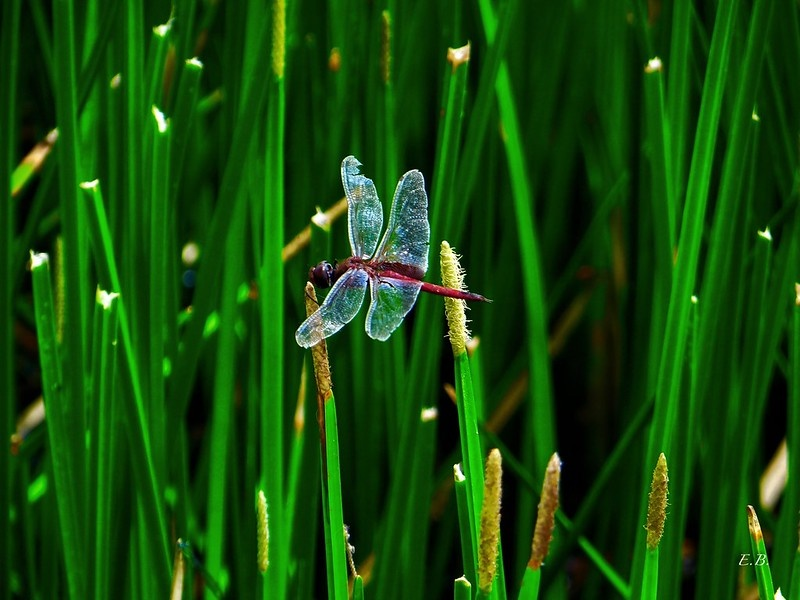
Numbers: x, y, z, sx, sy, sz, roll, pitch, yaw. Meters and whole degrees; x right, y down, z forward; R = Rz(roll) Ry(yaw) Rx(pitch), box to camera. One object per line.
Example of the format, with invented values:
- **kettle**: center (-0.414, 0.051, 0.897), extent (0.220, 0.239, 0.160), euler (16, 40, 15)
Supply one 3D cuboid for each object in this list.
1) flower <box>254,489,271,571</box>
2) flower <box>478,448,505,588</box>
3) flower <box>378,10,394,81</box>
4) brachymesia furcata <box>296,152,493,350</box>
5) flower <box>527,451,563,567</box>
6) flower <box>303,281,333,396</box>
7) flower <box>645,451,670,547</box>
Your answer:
- **flower**: center (-0.167, 0.283, 1.427), extent (0.015, 0.151, 0.023), euler (-1, -2, -12)
- **flower**: center (0.106, 0.266, 1.395), extent (0.027, 0.175, 0.031), euler (-1, -1, 7)
- **flower**: center (-0.018, -0.337, 1.571), extent (0.019, 0.100, 0.010), euler (-1, -1, 36)
- **brachymesia furcata**: center (-0.003, -0.048, 1.561), extent (0.214, 0.142, 0.311), euler (-2, -24, -9)
- **flower**: center (0.174, 0.257, 1.420), extent (0.038, 0.141, 0.047), euler (0, -1, -6)
- **flower**: center (-0.101, 0.052, 1.450), extent (0.030, 0.142, 0.126), euler (0, -1, -5)
- **flower**: center (0.320, 0.250, 1.462), extent (0.024, 0.118, 0.076), euler (-1, -1, 12)
